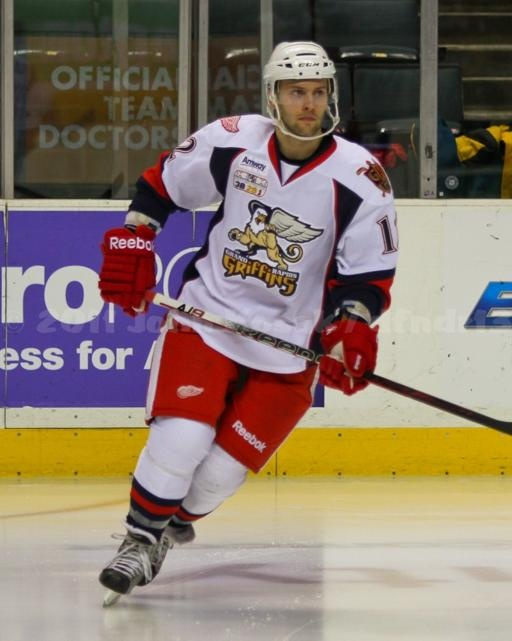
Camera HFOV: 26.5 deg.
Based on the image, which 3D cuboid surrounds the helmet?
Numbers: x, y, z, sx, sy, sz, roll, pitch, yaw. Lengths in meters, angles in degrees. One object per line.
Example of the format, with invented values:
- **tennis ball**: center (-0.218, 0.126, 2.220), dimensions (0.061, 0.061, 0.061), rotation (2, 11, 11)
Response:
- **helmet**: center (0.138, -0.714, 3.308), dimensions (0.223, 0.248, 0.252), rotation (-4, 9, -12)

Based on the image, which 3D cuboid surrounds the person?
- **person**: center (-0.041, -0.011, 3.258), dimensions (0.857, 1.669, 0.550), rotation (4, 8, -9)

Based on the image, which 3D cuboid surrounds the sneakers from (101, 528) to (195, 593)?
- **sneakers**: center (-0.325, 0.700, 3.233), dimensions (0.114, 0.152, 0.354), rotation (30, 13, 4)

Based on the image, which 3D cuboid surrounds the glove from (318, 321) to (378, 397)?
- **glove**: center (0.263, 0.104, 3.153), dimensions (0.162, 0.217, 0.168), rotation (5, 8, -1)
